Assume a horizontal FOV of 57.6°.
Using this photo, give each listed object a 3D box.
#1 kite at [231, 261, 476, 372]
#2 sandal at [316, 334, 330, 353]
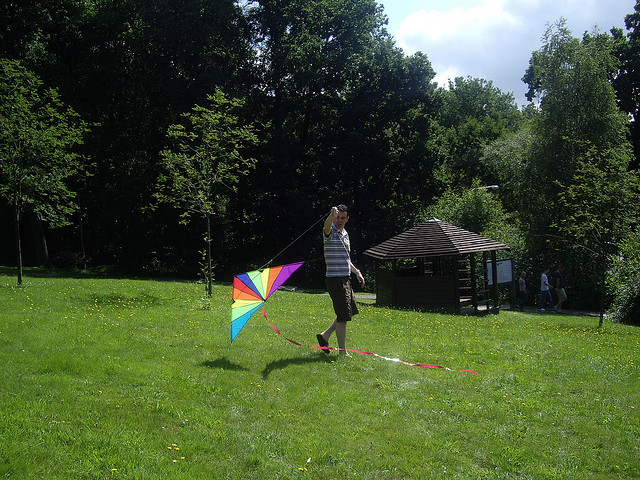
[{"bbox_3d":[-0.223,1.764,15.919,4.263,1.368,3.602,1,26,7],"label":"kite"},{"bbox_3d":[0.079,2.751,15.654,0.203,0.630,0.216,-13,-1,1],"label":"sandal"}]
